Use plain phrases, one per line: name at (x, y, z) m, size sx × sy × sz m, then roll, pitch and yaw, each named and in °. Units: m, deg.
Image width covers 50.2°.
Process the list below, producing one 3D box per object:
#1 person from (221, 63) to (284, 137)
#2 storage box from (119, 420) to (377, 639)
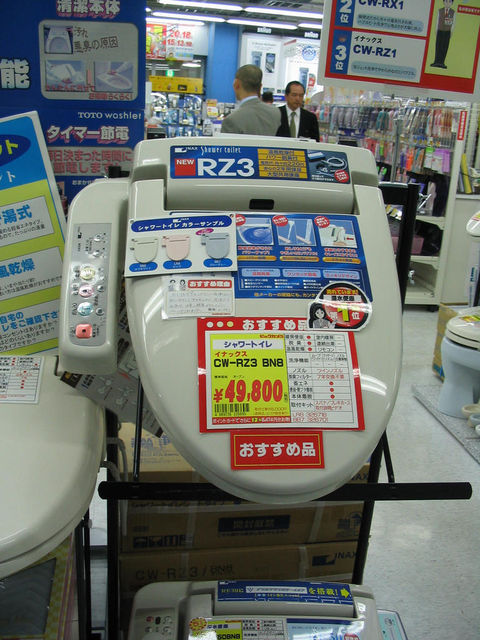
person at (0.093, -1.562, 3.678) m, size 0.392 × 0.449 × 0.703 m, roll 6°, pitch 31°, yaw 2°
storage box at (-0.001, 0.355, 1.130) m, size 0.617 × 0.494 × 0.319 m, roll -1°, pitch 27°, yaw -4°
